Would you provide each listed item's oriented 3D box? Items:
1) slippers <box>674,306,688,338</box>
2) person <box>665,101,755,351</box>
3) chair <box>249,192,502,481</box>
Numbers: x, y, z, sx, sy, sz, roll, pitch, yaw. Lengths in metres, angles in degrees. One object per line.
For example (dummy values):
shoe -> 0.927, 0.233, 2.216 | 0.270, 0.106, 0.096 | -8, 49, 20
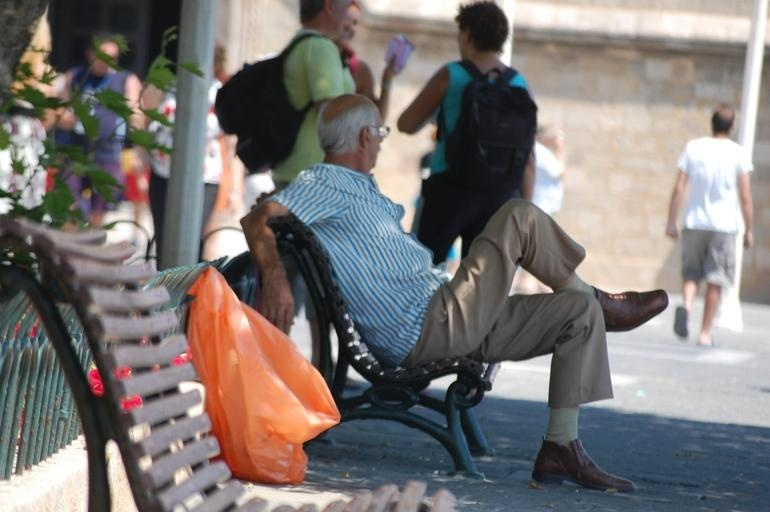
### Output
slippers -> 3.107, 0.669, 17.177 | 0.131, 0.342, 0.145 | 3, 10, 39
person -> 3.459, -0.351, 17.289 | 0.909, 2.520, 0.882 | 5, 7, -3
chair -> 0.017, 0.666, 12.814 | 1.935, 2.204, 1.604 | -2, 1, 0
